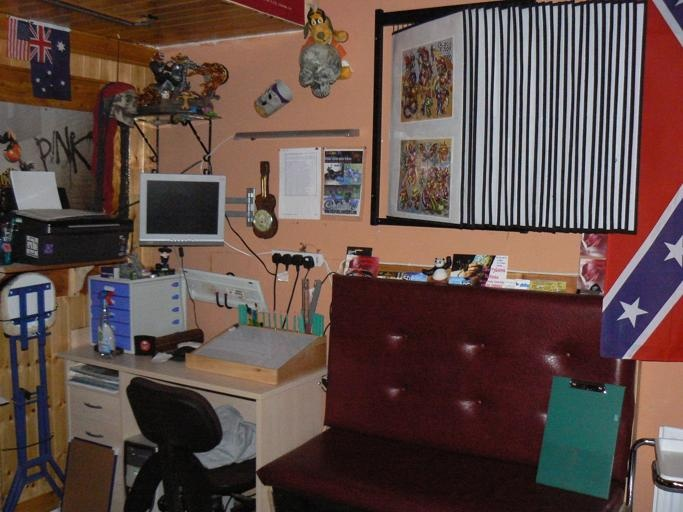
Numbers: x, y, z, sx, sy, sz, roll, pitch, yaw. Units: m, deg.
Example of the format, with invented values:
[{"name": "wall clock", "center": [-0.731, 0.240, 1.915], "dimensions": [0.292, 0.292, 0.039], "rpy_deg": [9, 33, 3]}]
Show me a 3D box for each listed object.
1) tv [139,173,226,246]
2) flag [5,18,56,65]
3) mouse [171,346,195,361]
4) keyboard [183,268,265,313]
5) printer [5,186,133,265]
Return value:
[{"name": "tv", "center": [-1.036, -0.297, 3.873], "dimensions": [0.403, 0.382, 0.044], "rpy_deg": [1, 2, -5]}, {"name": "flag", "center": [-1.881, -1.280, 3.618], "dimensions": [0.027, 0.220, 0.244], "rpy_deg": [6, 8, 40]}, {"name": "mouse", "center": [-0.976, 0.588, 3.706], "dimensions": [0.117, 0.068, 0.087], "rpy_deg": [-20, 9, 1]}, {"name": "keyboard", "center": [-0.785, 0.217, 4.104], "dimensions": [0.573, 0.262, 0.156], "rpy_deg": [9, 22, 7]}, {"name": "printer", "center": [-1.766, -0.117, 3.891], "dimensions": [0.470, 0.351, 0.682], "rpy_deg": [4, 5, 23]}]
